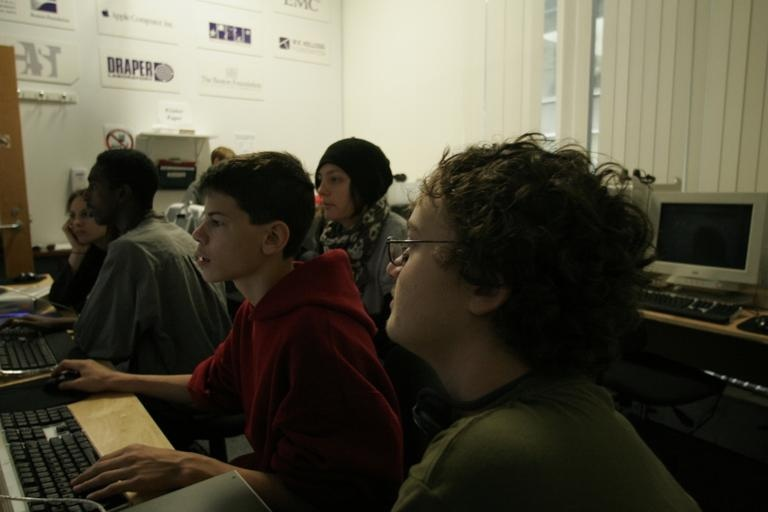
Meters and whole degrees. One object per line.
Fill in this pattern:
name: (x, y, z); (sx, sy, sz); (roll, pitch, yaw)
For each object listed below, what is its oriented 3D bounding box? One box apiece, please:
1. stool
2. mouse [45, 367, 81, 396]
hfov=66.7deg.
stool: (1.589, 0.782, 3.163); (0.394, 0.194, 0.387); (16, -31, -15)
mouse: (-1.318, 0.506, 2.359); (0.087, 0.024, 0.097); (-2, 25, -8)
